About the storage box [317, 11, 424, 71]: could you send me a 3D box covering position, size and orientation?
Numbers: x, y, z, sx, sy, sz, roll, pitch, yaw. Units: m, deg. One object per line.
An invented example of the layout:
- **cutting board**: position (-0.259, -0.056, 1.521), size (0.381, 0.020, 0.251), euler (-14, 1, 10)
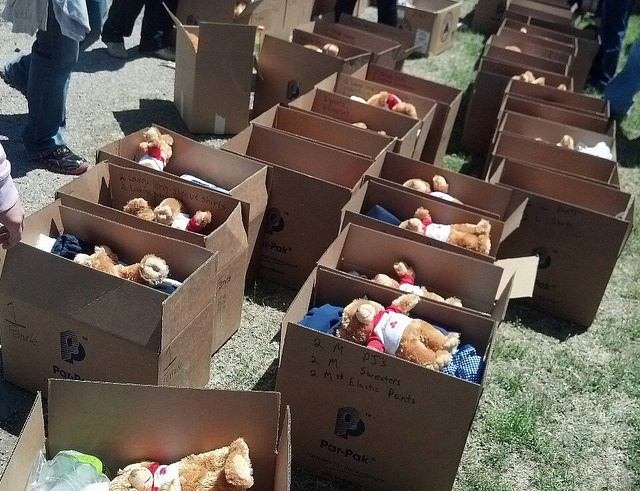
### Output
- **storage box**: position (0.471, -2.335, 7.059), size (1.057, 0.516, 0.699), euler (26, 44, 14)

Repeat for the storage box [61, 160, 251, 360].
- **storage box**: position (-0.971, 0.104, 3.694), size (0.882, 0.681, 0.512), euler (23, 41, 8)

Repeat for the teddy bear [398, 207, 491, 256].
- **teddy bear**: position (0.841, -0.094, 4.343), size (0.595, 0.250, 0.409), euler (-2, 22, 15)

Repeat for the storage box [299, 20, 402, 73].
- **storage box**: position (0.313, -2.258, 6.792), size (1.041, 0.373, 0.626), euler (28, 47, 17)

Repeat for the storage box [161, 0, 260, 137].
- **storage box**: position (-1.039, -1.584, 5.876), size (0.821, 1.074, 0.464), euler (34, 40, 24)

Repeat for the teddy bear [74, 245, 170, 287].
- **teddy bear**: position (-1.090, 0.127, 3.598), size (0.367, 0.145, 0.281), euler (26, -3, -5)

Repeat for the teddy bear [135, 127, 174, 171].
- **teddy bear**: position (-1.120, -0.652, 4.363), size (0.202, 0.171, 0.346), euler (7, 76, -16)

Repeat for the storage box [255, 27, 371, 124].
- **storage box**: position (-0.037, -1.798, 6.390), size (0.902, 0.968, 0.938), euler (25, 37, 9)

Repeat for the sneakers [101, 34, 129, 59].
- **sneakers**: position (-2.247, -2.148, 6.996), size (0.277, 0.113, 0.154), euler (24, 72, -7)

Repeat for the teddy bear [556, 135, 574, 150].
- **teddy bear**: position (2.121, -0.890, 5.543), size (0.096, 0.164, 0.081), euler (-12, 51, 4)

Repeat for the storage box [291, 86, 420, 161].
- **storage box**: position (0.287, -0.979, 5.244), size (0.597, 0.452, 0.336), euler (22, 40, 10)

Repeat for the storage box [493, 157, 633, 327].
- **storage box**: position (1.763, 0.005, 4.714), size (0.856, 0.908, 0.497), euler (21, 40, 12)

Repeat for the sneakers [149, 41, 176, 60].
- **sneakers**: position (-1.789, -2.185, 7.336), size (0.342, 0.136, 0.220), euler (2, 26, -29)

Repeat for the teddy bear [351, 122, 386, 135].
- **teddy bear**: position (0.402, -0.959, 5.266), size (0.157, 0.062, 0.163), euler (24, 17, 21)
